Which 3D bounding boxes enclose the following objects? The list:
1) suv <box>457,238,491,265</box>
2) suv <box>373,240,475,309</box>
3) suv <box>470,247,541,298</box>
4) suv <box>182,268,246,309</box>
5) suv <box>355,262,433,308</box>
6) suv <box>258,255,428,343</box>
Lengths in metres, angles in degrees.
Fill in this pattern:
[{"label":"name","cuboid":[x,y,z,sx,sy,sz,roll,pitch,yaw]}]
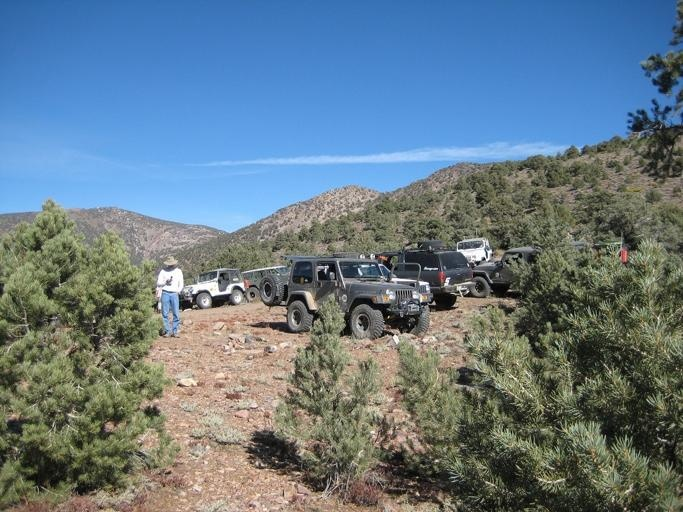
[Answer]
[{"label":"suv","cuboid":[7.045,-0.527,27.106,1.717,1.925,3.148,-6,-3,23]},{"label":"suv","cuboid":[2.990,0.534,17.688,1.700,1.804,3.111,-3,10,-38]},{"label":"suv","cuboid":[6.031,0.658,18.582,2.621,1.633,1.592,1,1,21]},{"label":"suv","cuboid":[-6.132,1.582,23.658,1.729,1.795,3.014,-10,-12,42]},{"label":"suv","cuboid":[1.857,0.849,14.905,1.254,1.195,2.379,2,-20,12]},{"label":"suv","cuboid":[0.184,1.060,13.547,3.781,2.060,2.149,-4,-4,35]}]
